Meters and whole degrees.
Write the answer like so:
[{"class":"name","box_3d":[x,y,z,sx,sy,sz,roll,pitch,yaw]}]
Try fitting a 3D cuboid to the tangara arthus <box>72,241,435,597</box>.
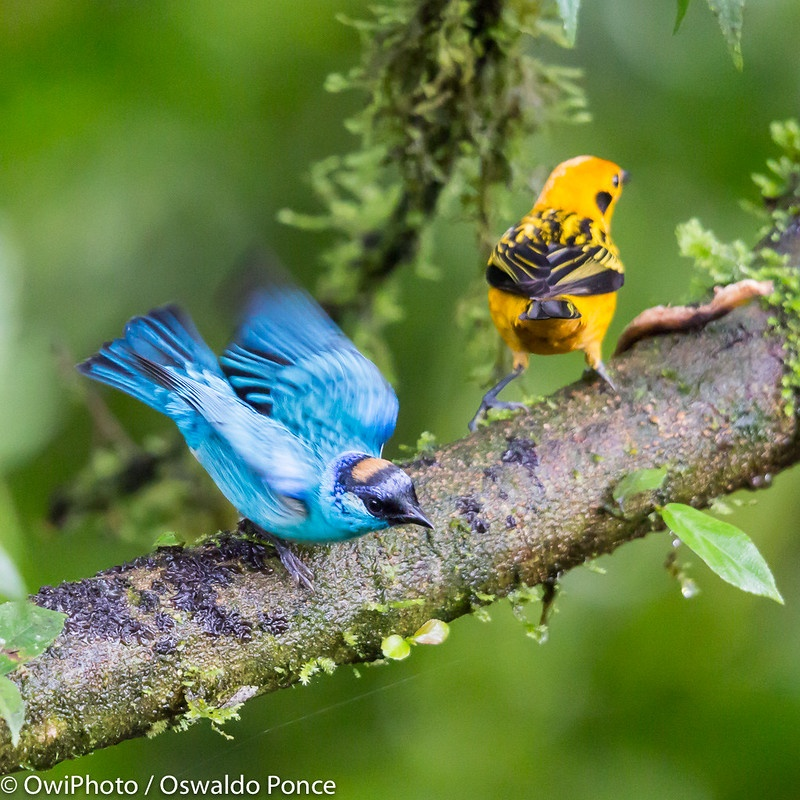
[{"class":"tangara arthus","box_3d":[-0.389,0.047,3.648,1.229,0.506,0.777,37,42,6]}]
